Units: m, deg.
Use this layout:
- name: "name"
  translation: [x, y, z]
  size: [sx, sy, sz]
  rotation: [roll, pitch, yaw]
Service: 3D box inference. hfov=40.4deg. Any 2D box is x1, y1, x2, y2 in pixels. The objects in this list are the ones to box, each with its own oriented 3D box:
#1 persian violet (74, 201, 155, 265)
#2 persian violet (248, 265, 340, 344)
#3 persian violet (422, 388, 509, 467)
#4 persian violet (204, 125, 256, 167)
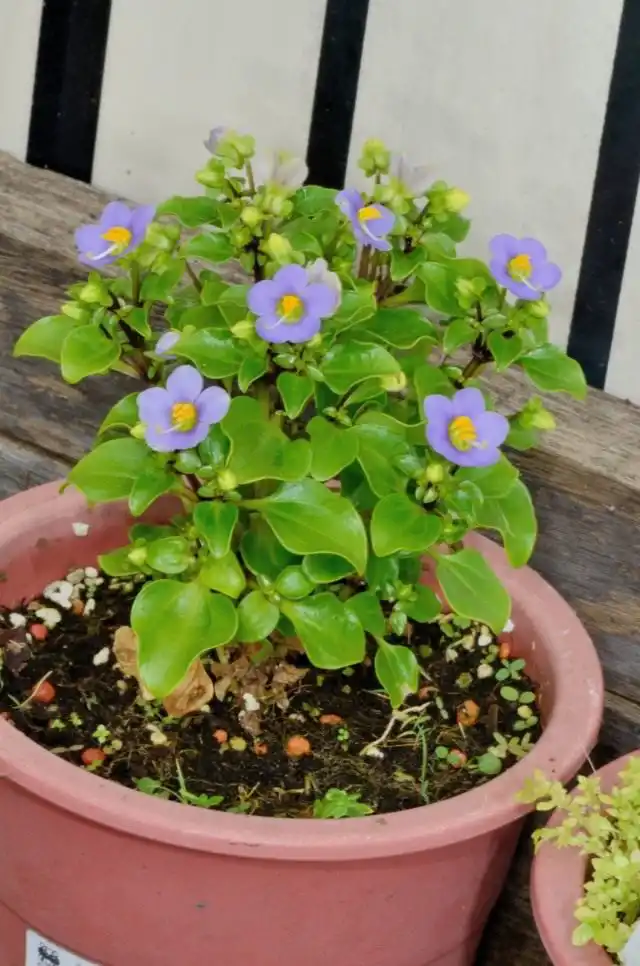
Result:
- name: "persian violet"
  translation: [-0.184, -0.217, 0.758]
  size: [0.076, 0.056, 0.050]
  rotation: [19, 15, 40]
- name: "persian violet"
  translation: [-0.025, -0.142, 0.705]
  size: [0.066, 0.021, 0.073]
  rotation: [-4, -19, 12]
- name: "persian violet"
  translation: [0.123, -0.064, 0.767]
  size: [0.059, 0.025, 0.062]
  rotation: [20, -22, -39]
- name: "persian violet"
  translation: [-0.080, -0.304, 0.805]
  size: [0.044, 0.034, 0.021]
  rotation: [33, 0, -2]
